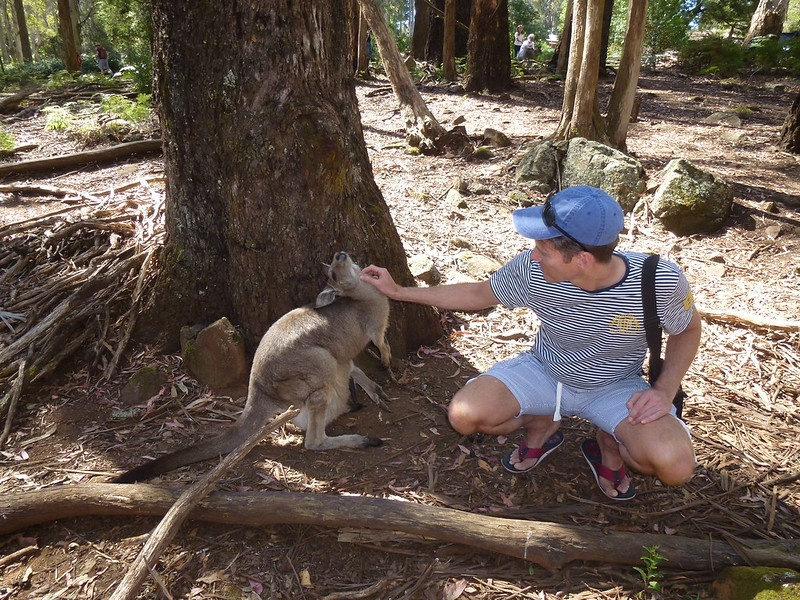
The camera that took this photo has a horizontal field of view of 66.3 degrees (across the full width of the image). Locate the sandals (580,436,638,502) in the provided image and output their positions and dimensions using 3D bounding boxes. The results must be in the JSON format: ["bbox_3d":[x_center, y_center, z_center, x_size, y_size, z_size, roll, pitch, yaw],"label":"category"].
[{"bbox_3d":[1.681,1.379,5.007,0.241,0.154,0.573,-22,51,-8],"label":"sandals"}]

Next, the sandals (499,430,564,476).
[{"bbox_3d":[1.125,1.264,5.131,0.609,0.130,0.225,-27,39,-11],"label":"sandals"}]

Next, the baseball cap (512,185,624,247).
[{"bbox_3d":[1.214,-0.608,4.469,0.757,0.267,0.422,4,57,11],"label":"baseball cap"}]

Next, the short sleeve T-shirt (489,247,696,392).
[{"bbox_3d":[1.554,0.121,5.058,1.633,0.954,0.669,7,27,25],"label":"short sleeve T-shirt"}]
